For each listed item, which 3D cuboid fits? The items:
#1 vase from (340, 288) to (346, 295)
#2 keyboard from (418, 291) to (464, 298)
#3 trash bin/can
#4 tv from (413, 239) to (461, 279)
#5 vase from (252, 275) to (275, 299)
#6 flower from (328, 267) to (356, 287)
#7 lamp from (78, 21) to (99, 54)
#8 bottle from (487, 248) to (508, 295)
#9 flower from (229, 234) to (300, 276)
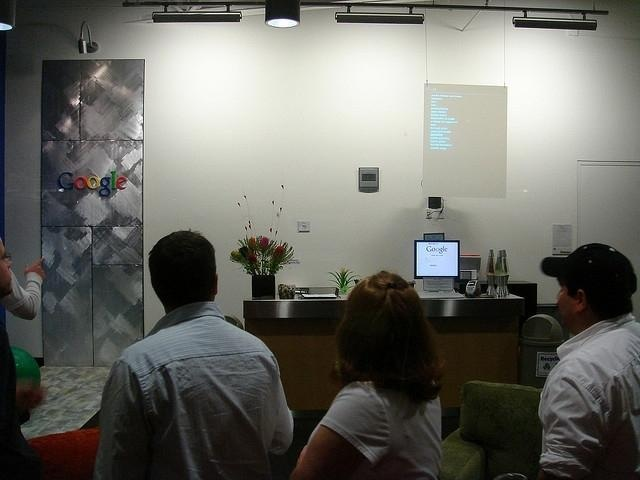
[{"bbox_3d":[0.219,0.505,5.087,0.045,0.049,0.047,1,-3,17],"label":"vase"},{"bbox_3d":[1.134,0.527,4.992,0.232,0.068,0.266,0,-2,3],"label":"keyboard"},{"bbox_3d":[1.922,1.050,4.634,0.332,0.777,0.348,-2,6,-19],"label":"trash bin/can"},{"bbox_3d":[1.172,0.199,5.278,0.341,0.319,0.046,1,-4,2],"label":"tv"},{"bbox_3d":[-0.501,0.422,4.709,0.187,0.202,0.191,1,-2,-1],"label":"vase"},{"bbox_3d":[0.268,0.421,5.859,0.234,0.196,0.233,0,-6,1],"label":"flower"},{"bbox_3d":[-2.609,-2.277,5.925,0.155,0.328,0.201,26,35,26],"label":"lamp"},{"bbox_3d":[1.694,0.318,5.027,0.185,0.387,0.545,2,1,18],"label":"bottle"},{"bbox_3d":[-0.510,0.166,4.821,0.481,0.412,0.514,5,10,10],"label":"flower"}]
